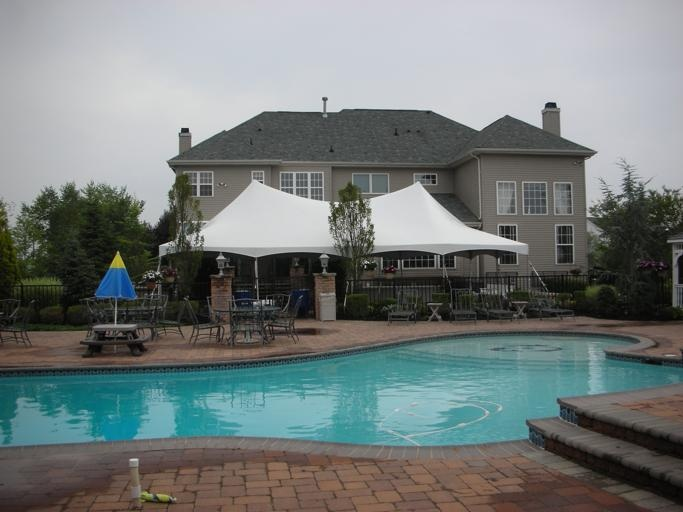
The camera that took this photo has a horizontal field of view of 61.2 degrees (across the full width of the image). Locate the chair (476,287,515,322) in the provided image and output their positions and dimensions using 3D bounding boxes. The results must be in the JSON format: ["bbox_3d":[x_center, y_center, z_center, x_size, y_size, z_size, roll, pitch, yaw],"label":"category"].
[{"bbox_3d":[5.186,1.640,19.218,0.745,1.084,1.799,0,-9,-3],"label":"chair"}]

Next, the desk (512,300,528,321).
[{"bbox_3d":[5.933,1.775,19.132,0.482,0.589,2.230,-3,-5,17],"label":"desk"}]

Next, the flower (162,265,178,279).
[{"bbox_3d":[-5.725,0.551,19.360,0.387,0.331,0.476,1,-5,-24],"label":"flower"}]

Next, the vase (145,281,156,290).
[{"bbox_3d":[-6.817,1.031,20.740,0.477,0.321,0.468,-1,-5,24],"label":"vase"}]

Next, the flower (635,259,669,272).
[{"bbox_3d":[9.633,0.284,17.972,0.676,0.286,0.630,2,-1,24],"label":"flower"}]

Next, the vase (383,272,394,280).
[{"bbox_3d":[1.867,0.772,22.706,0.363,0.214,0.353,1,-1,12],"label":"vase"}]

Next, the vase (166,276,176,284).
[{"bbox_3d":[-5.731,0.793,19.347,0.276,0.195,0.258,-7,-7,41],"label":"vase"}]
